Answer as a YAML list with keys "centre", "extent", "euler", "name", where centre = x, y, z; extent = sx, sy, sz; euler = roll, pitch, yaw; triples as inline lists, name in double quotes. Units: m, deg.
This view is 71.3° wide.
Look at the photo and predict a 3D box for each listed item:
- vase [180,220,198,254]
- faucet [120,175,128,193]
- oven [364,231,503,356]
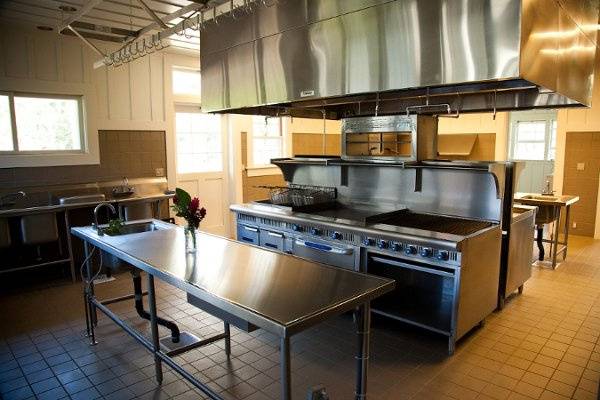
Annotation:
- centre: [-1.105, 0.354, 4.167]
  extent: [0.124, 0.282, 0.216]
  euler: [-4, 10, -16]
  name: "vase"
- centre: [-2.925, -0.290, 6.930]
  extent: [0.098, 0.234, 0.310]
  euler: [-6, 11, -22]
  name: "faucet"
- centre: [1.484, 0.755, 5.104]
  extent: [1.667, 1.443, 1.320]
  euler: [2, 3, 40]
  name: "oven"
